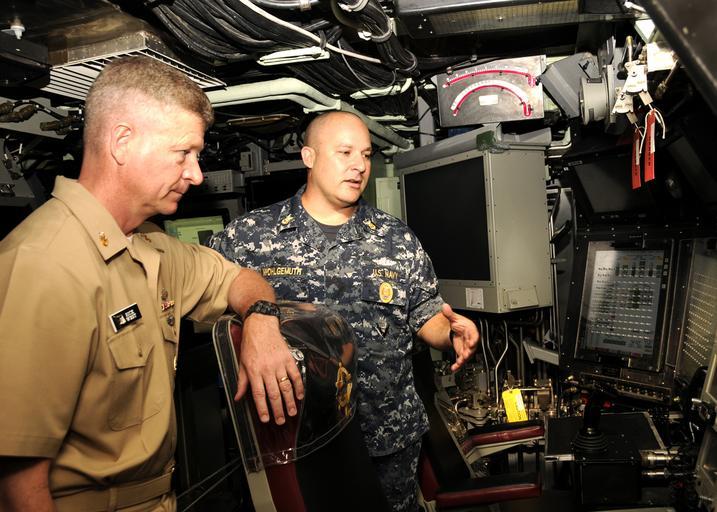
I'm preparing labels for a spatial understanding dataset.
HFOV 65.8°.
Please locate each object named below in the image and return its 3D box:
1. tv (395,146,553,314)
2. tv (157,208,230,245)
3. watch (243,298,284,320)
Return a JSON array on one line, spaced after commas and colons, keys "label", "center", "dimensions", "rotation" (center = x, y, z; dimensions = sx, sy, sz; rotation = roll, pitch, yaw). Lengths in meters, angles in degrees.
[{"label": "tv", "center": [0.856, -0.174, 3.864], "dimensions": [0.707, 1.206, 1.256], "rotation": [-4, 0, -28]}, {"label": "tv", "center": [-1.536, -0.352, 4.965], "dimensions": [0.556, 0.499, 0.129], "rotation": [1, 8, 17]}, {"label": "watch", "center": [-0.313, 0.178, 1.835], "dimensions": [0.093, 0.066, 0.101], "rotation": [-5, -16, 25]}]
